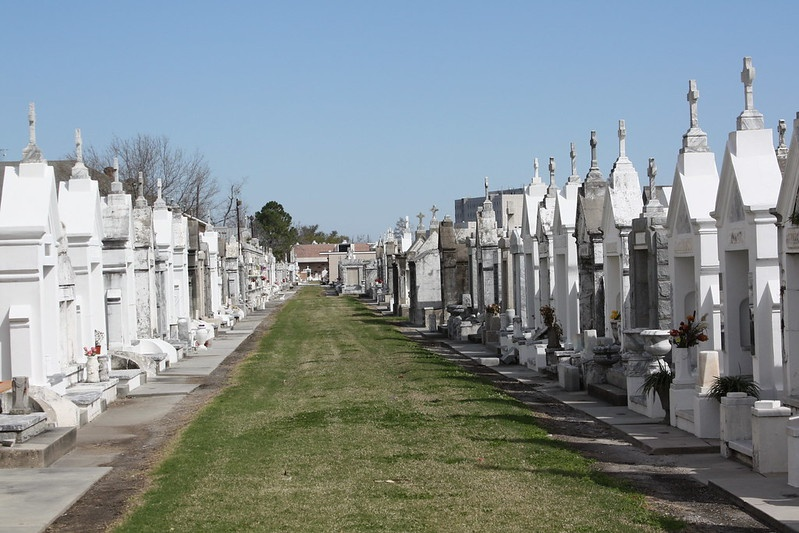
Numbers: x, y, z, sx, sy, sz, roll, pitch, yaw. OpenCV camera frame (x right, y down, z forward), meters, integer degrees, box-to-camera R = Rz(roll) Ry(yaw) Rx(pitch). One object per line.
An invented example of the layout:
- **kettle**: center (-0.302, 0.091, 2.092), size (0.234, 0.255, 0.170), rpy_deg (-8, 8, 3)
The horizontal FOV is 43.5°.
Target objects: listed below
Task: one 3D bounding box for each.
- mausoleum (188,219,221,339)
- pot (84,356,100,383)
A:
- **mausoleum**: center (-8.620, 0.704, 43.702), size (0.801, 4.447, 5.813), rpy_deg (-2, -2, -2)
- **pot**: center (-7.514, 2.517, 24.285), size (0.347, 0.668, 0.508), rpy_deg (-3, 5, -17)
